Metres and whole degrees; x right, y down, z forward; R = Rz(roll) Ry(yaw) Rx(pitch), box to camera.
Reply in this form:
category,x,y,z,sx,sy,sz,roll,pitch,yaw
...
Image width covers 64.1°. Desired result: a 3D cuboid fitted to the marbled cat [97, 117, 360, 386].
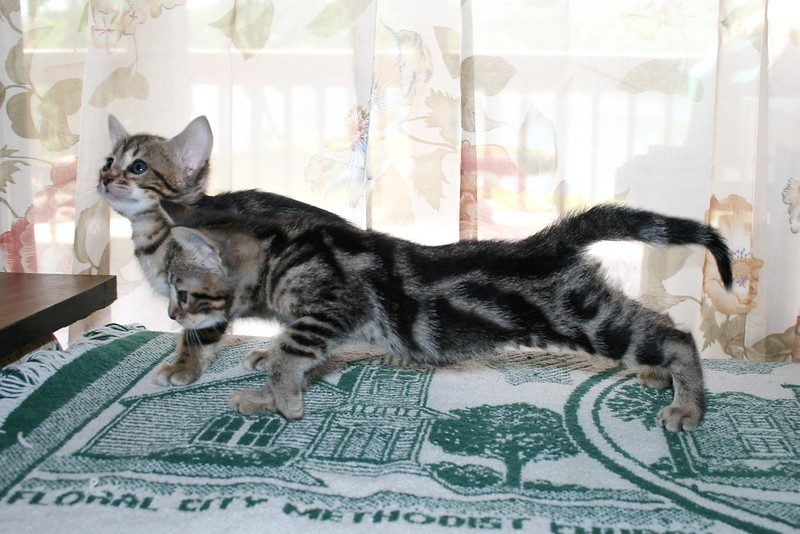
category,x,y,z,sx,sy,sz,roll,pitch,yaw
marbled cat,-0.574,-0.082,2.378,0.421,1.079,0.739,6,-86,40
